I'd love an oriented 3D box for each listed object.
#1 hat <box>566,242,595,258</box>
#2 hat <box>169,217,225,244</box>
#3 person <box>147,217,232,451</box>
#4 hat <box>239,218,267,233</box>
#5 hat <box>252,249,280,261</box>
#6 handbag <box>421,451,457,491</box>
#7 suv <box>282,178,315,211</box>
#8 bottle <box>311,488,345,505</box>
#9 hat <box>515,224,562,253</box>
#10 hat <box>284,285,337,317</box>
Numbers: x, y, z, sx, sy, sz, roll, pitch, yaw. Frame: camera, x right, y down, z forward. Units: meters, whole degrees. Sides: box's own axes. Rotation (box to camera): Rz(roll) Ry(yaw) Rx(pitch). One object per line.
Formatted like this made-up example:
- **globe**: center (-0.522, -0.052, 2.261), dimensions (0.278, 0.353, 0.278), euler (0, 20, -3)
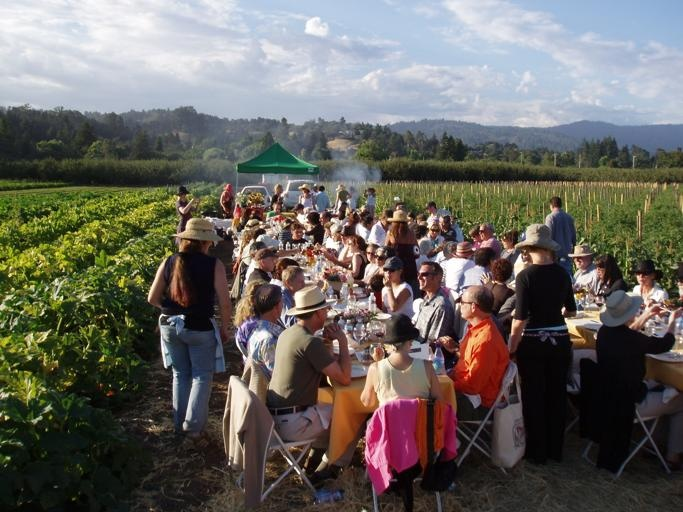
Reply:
- **hat**: center (3.873, -0.099, 8.076), dimensions (0.376, 0.187, 0.428), euler (-13, -6, 42)
- **hat**: center (-1.636, -0.310, 5.939), dimensions (0.341, 0.147, 0.368), euler (17, 7, 9)
- **person**: center (-1.744, 0.840, 5.861), dimensions (0.872, 2.544, 0.503), euler (0, 8, -7)
- **hat**: center (-1.802, -0.656, 10.133), dimensions (0.431, 0.173, 0.530), euler (-4, 6, 5)
- **hat**: center (-1.115, -0.058, 7.526), dimensions (0.181, 0.113, 0.247), euler (-8, 1, 18)
- **handbag**: center (0.896, 1.937, 4.616), dimensions (0.336, 0.381, 0.160), euler (-3, 9, -22)
- **suv**: center (-2.522, -3.646, 28.067), dimensions (1.566, 1.611, 2.888), euler (-3, 26, -2)
- **bottle**: center (-0.132, 2.375, 5.036), dimensions (0.288, 0.054, 0.160), euler (0, 9, -4)
- **hat**: center (2.260, -0.200, 5.761), dimensions (0.340, 0.221, 0.354), euler (-2, -15, 42)
- **hat**: center (-0.360, 0.438, 4.990), dimensions (0.319, 0.142, 0.307), euler (-18, 10, 15)
